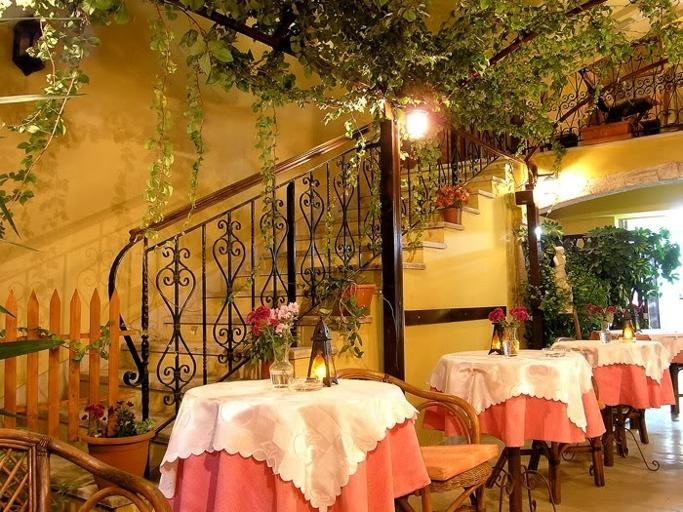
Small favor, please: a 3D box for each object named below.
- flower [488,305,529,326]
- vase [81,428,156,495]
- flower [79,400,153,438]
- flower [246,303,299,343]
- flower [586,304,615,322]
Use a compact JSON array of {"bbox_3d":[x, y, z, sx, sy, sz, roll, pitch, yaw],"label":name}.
[{"bbox_3d":[1.609,0.569,5.313,0.361,0.245,0.387,-2,-3,44],"label":"flower"},{"bbox_3d":[-1.548,1.382,3.764,0.460,0.391,0.481,-1,-4,43],"label":"vase"},{"bbox_3d":[-1.536,1.134,3.790,0.314,0.242,0.469,-12,-22,-2],"label":"flower"},{"bbox_3d":[-0.366,0.345,2.980,0.208,0.197,0.259,-3,1,6],"label":"flower"},{"bbox_3d":[3.213,0.710,6.788,0.322,0.268,0.370,2,1,15],"label":"flower"}]
